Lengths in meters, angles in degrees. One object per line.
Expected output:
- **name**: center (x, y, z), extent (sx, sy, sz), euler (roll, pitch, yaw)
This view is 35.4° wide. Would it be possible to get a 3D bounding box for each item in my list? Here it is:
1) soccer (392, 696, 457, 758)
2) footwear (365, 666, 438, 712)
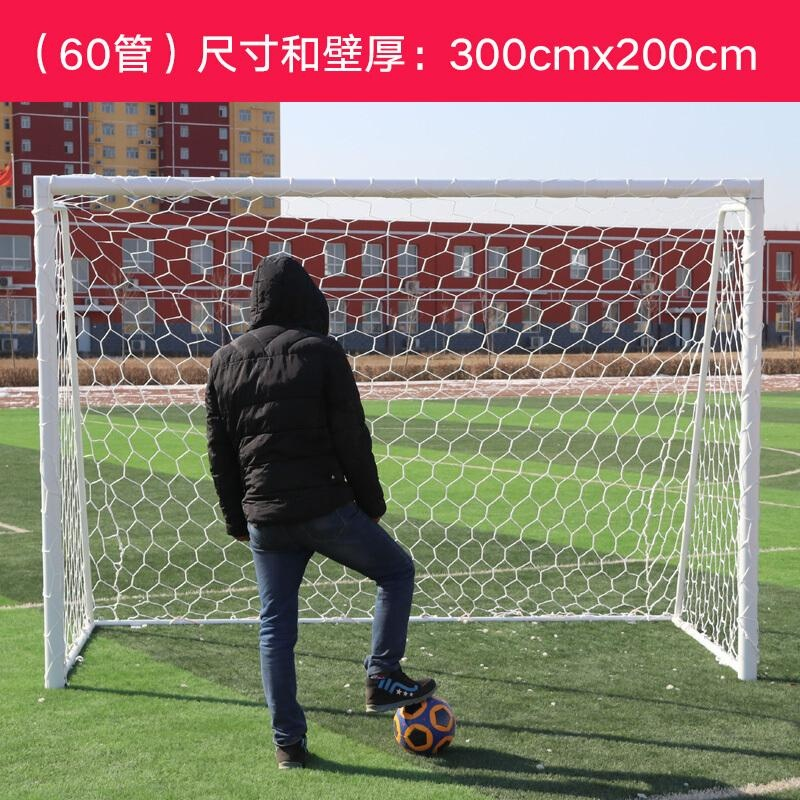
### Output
- **soccer**: center (0.081, 1.329, 5.080), extent (0.228, 0.213, 0.208), euler (6, 33, 21)
- **footwear**: center (-0.024, 1.158, 5.076), extent (0.367, 0.173, 0.118), euler (-7, 1, -11)
